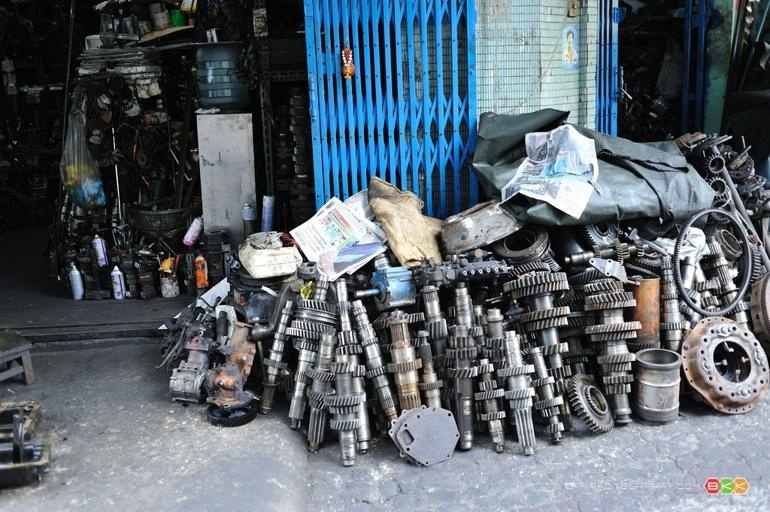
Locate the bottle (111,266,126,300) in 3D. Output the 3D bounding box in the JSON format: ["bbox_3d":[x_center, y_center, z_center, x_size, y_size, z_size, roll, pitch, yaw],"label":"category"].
[{"bbox_3d":[-3.544,0.339,8.241,0.152,0.434,0.240,-14,16,-42],"label":"bottle"}]

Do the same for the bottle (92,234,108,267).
[{"bbox_3d":[-3.811,-0.062,8.318,0.172,0.385,0.197,-9,13,-26],"label":"bottle"}]

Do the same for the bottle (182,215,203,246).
[{"bbox_3d":[-2.595,-0.311,8.414,0.275,0.388,0.389,-8,12,-22],"label":"bottle"}]

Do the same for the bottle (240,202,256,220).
[{"bbox_3d":[-1.761,-0.559,8.027,0.208,0.290,0.190,-3,-7,0],"label":"bottle"}]

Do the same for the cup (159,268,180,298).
[{"bbox_3d":[-2.848,0.352,8.313,0.284,0.348,0.317,2,13,10],"label":"cup"}]
